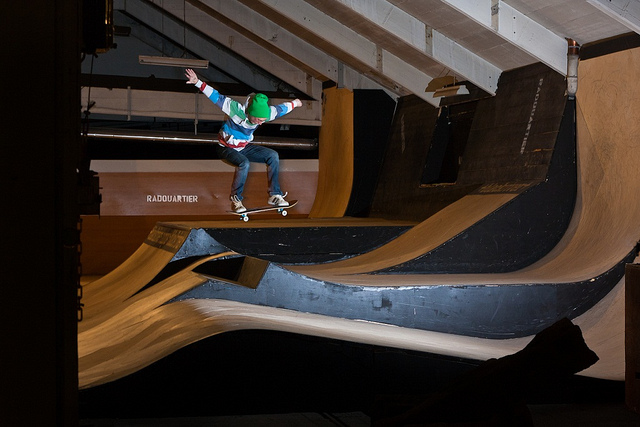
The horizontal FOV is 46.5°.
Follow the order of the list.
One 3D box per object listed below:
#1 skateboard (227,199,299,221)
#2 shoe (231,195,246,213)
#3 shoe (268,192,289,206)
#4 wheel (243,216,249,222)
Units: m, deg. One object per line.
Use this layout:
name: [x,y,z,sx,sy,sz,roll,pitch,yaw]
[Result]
skateboard: [-0.925,-0.063,12.185,0.803,0.146,0.213,-8,21,-19]
shoe: [-1.104,-0.145,10.644,0.122,0.252,0.324,2,3,-42]
shoe: [-0.589,-0.214,11.038,0.347,0.148,0.121,0,1,36]
wheel: [-0.989,0.066,10.347,0.074,0.078,0.017,-2,1,-30]
